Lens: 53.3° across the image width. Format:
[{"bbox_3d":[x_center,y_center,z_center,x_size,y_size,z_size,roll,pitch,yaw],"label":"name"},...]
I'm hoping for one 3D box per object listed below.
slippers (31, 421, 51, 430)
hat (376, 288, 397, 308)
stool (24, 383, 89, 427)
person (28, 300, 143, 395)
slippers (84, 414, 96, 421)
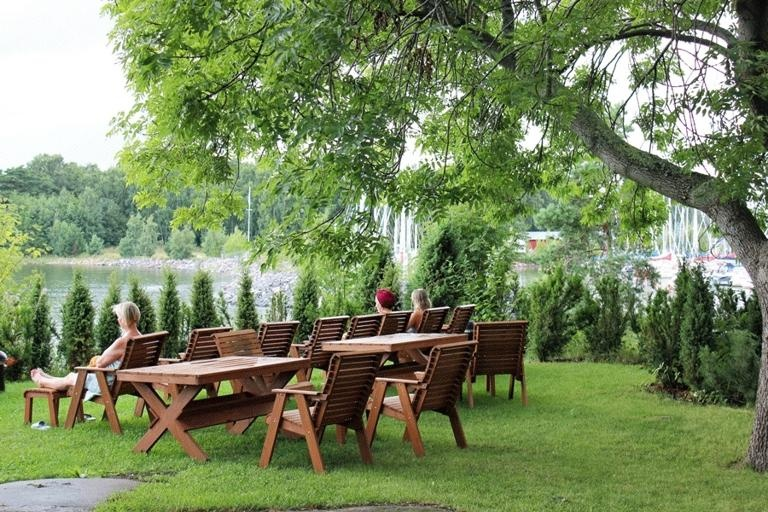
[{"bbox_3d":[-5.308,2.623,11.790,0.153,0.064,0.179,12,-2,-9],"label":"slippers"},{"bbox_3d":[0.114,0.852,14.701,0.317,0.419,0.387,-8,11,-23],"label":"hat"},{"bbox_3d":[-5.353,2.305,12.123,0.628,0.546,0.687,0,-5,6],"label":"stool"},{"bbox_3d":[-4.564,1.512,12.437,2.065,1.551,1.102,-2,-2,15],"label":"person"},{"bbox_3d":[-4.733,2.587,12.231,0.138,0.052,0.093,2,-5,36],"label":"slippers"}]
